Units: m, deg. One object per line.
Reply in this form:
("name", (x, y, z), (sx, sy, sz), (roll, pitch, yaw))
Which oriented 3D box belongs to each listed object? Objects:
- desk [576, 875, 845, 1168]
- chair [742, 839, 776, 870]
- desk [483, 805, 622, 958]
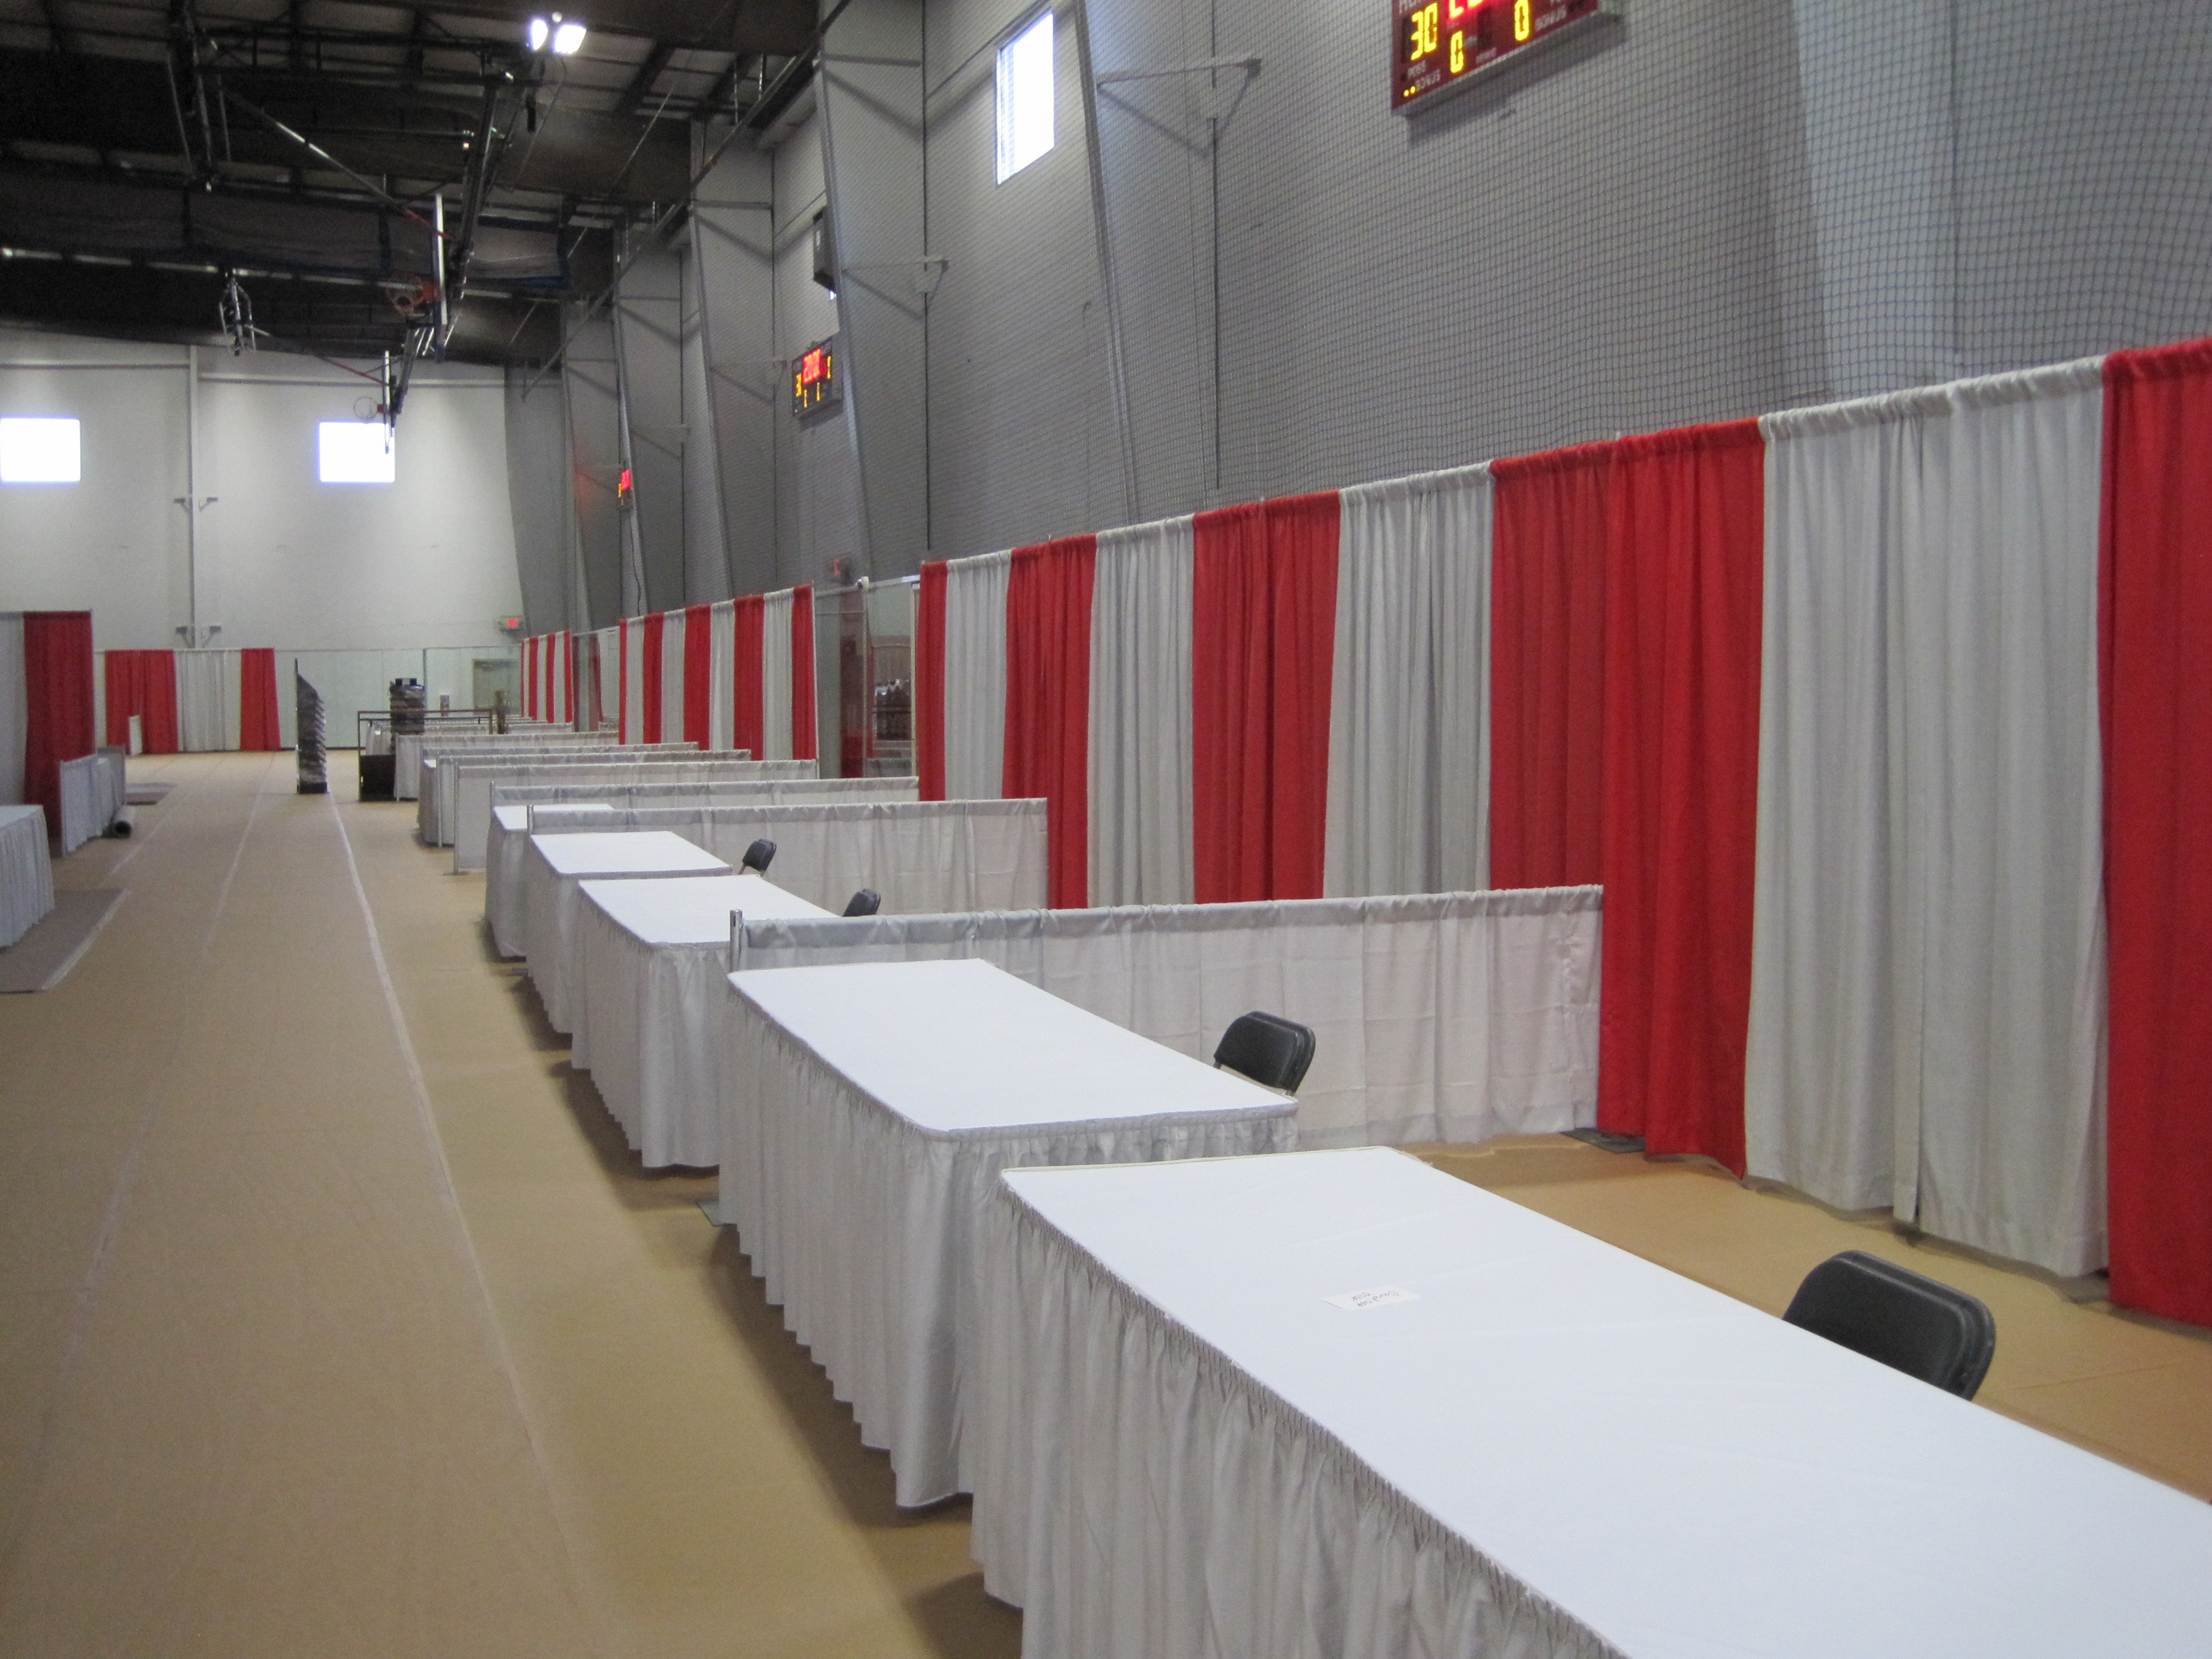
("desk", (-1.648, 0.935, 6.597), (0.784, 0.775, 1.451), (20, -8, -16))
("chair", (-1.923, 0.145, 9.015), (0.163, 0.246, 0.169), (1, 0, 31))
("desk", (-3.558, 0.298, 10.208), (0.864, 0.809, 0.930), (-1, 12, -22))
